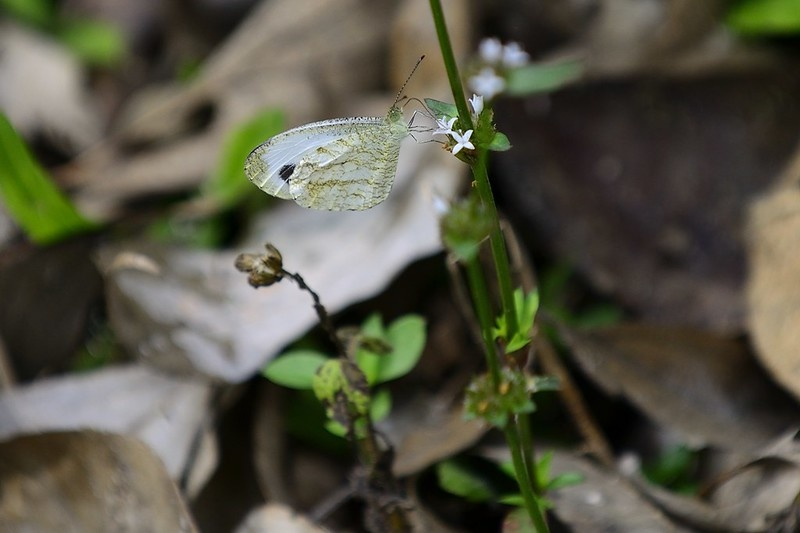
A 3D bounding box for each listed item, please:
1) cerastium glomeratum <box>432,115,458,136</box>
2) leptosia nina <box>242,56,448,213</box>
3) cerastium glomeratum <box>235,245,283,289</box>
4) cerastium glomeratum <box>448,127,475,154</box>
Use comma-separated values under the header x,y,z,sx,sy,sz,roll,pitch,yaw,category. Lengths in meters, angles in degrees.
x,y,z,sx,sy,sz,roll,pitch,yaw,category
0.074,-0.210,1.493,0.029,0.010,0.031,-5,71,42,cerastium glomeratum
-0.105,-0.222,1.739,0.339,0.197,0.181,-5,41,2,leptosia nina
-0.232,0.002,1.588,0.059,0.082,0.046,-5,23,1,cerastium glomeratum
0.091,-0.186,1.448,0.032,0.012,0.035,26,95,24,cerastium glomeratum
